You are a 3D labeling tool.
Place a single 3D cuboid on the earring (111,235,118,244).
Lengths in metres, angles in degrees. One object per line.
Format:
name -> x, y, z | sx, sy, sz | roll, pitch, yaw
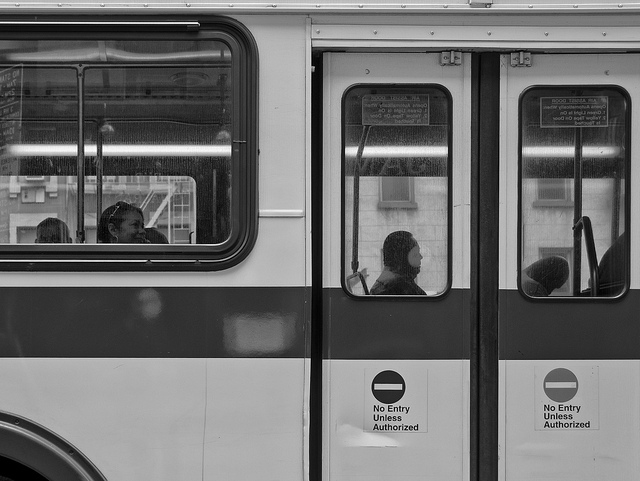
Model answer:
earring -> -1.235, -0.011, 10.175 | 0.049, 0.049, 0.010 | 8, 5, -4
